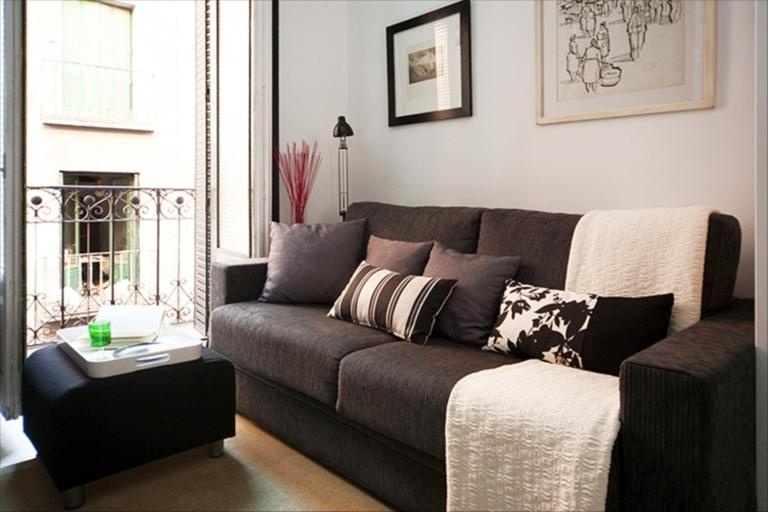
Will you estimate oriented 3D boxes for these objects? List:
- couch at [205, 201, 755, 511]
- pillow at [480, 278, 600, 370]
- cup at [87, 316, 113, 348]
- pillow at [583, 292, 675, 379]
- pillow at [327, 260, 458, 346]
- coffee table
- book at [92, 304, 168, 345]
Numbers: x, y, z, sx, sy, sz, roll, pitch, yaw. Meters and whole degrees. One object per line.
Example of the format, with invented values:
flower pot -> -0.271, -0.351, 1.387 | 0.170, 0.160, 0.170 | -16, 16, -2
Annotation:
couch -> 0.479, 0.490, 2.672 | 0.702, 0.730, 1.547 | 1, 0, -44
pillow -> 0.785, 0.322, 2.786 | 0.523, 0.347, 0.196 | 9, 3, 38
cup -> -1.397, 0.388, 2.842 | 0.134, 0.123, 0.106 | 4, -5, -31
pillow -> 1.089, 0.359, 2.608 | 0.244, 0.366, 0.431 | -8, 0, -25
pillow -> 0.028, 0.226, 3.200 | 0.315, 0.258, 0.717 | -21, 22, -40
coffee table -> -1.167, 0.748, 2.662 | 0.760, 0.474, 0.746 | -1, 0, -36
book -> -1.310, 0.352, 2.963 | 0.238, 0.056, 0.228 | 2, 32, -14
